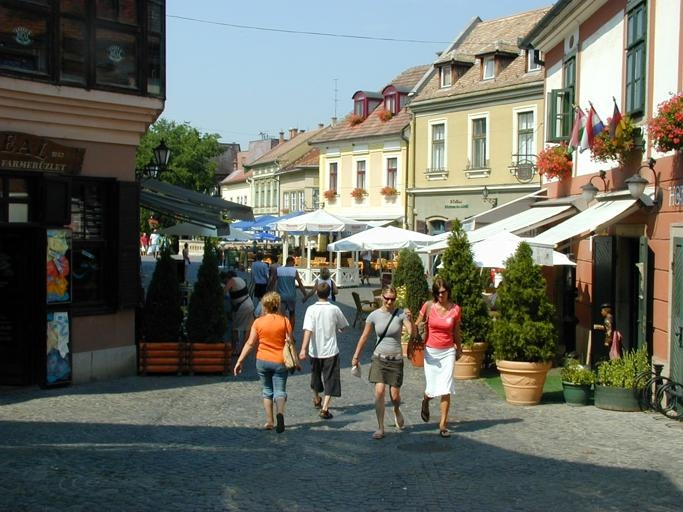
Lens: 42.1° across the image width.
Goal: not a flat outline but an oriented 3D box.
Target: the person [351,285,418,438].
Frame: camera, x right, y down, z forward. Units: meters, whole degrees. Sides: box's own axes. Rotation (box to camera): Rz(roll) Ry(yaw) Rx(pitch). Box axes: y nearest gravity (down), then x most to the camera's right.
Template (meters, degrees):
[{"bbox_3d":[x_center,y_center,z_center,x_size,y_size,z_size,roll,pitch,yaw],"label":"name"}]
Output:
[{"bbox_3d":[0.659,1.523,13.483,0.844,2.187,1.524,2,5,5],"label":"person"}]

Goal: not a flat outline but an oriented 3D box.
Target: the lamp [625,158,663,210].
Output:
[{"bbox_3d":[5.132,-1.269,15.235,0.511,0.847,0.822,2,5,6],"label":"lamp"}]

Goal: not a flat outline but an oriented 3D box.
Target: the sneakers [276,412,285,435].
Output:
[{"bbox_3d":[-0.900,2.452,13.024,0.108,0.267,0.172,1,5,-6],"label":"sneakers"}]

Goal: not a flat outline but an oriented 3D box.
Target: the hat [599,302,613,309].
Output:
[{"bbox_3d":[4.725,0.896,15.892,0.139,0.104,0.147,0,-4,4],"label":"hat"}]

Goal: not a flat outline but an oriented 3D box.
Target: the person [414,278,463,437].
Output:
[{"bbox_3d":[1.433,1.489,13.266,0.630,2.276,0.602,3,5,18],"label":"person"}]

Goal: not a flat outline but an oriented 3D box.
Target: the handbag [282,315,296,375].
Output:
[{"bbox_3d":[-0.763,1.349,13.397,0.212,0.849,0.648,1,5,-3],"label":"handbag"}]

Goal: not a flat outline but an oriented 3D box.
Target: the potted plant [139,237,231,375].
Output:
[{"bbox_3d":[-2.933,1.028,16.633,1.625,2.325,0.661,0,5,-12],"label":"potted plant"}]

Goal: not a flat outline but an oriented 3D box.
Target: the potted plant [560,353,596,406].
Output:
[{"bbox_3d":[3.911,2.126,15.087,0.663,0.879,0.642,1,-4,-10],"label":"potted plant"}]

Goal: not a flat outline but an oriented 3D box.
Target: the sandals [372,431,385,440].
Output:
[{"bbox_3d":[0.539,2.587,12.911,0.184,0.110,0.236,2,5,2],"label":"sandals"}]

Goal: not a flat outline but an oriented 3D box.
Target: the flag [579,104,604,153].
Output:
[{"bbox_3d":[4.667,-2.499,16.643,0.585,1.100,0.157,-20,39,-7],"label":"flag"}]

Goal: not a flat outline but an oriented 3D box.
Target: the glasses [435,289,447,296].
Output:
[{"bbox_3d":[1.496,0.546,13.231,0.146,0.113,0.066,1,5,-6],"label":"glasses"}]

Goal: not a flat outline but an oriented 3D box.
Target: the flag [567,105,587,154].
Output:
[{"bbox_3d":[4.681,-2.528,17.729,0.289,0.217,1.267,-9,-41,4],"label":"flag"}]

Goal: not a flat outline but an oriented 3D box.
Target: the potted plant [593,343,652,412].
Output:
[{"bbox_3d":[4.580,2.031,14.514,0.872,1.034,0.944,1,-4,-2],"label":"potted plant"}]

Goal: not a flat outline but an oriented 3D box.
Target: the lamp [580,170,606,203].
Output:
[{"bbox_3d":[5.002,-1.408,17.728,0.476,0.686,0.406,1,-16,33],"label":"lamp"}]

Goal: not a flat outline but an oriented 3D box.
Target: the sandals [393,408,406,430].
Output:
[{"bbox_3d":[0.864,2.470,13.414,0.125,0.416,0.098,-1,18,37],"label":"sandals"}]

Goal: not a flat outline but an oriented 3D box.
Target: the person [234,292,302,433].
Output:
[{"bbox_3d":[-1.042,1.563,13.281,0.782,2.009,0.492,4,6,35],"label":"person"}]

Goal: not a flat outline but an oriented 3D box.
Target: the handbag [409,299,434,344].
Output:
[{"bbox_3d":[1.331,1.028,13.594,0.574,0.601,0.433,1,0,15],"label":"handbag"}]

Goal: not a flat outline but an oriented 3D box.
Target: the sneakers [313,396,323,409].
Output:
[{"bbox_3d":[-0.392,2.399,14.523,0.170,0.196,0.477,1,3,-1],"label":"sneakers"}]

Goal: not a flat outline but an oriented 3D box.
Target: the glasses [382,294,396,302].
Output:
[{"bbox_3d":[0.718,0.630,13.190,0.191,0.122,0.138,-1,5,-21],"label":"glasses"}]

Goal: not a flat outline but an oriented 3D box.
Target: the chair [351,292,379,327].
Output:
[{"bbox_3d":[0.662,1.416,23.491,0.682,0.887,0.714,-6,5,-40],"label":"chair"}]

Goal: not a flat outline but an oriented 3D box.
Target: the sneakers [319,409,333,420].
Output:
[{"bbox_3d":[-0.232,2.459,13.950,0.202,0.135,0.364,1,5,-2],"label":"sneakers"}]

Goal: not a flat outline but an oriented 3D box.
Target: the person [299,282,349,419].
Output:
[{"bbox_3d":[-0.282,1.461,14.268,0.709,2.089,1.107,1,5,-1],"label":"person"}]

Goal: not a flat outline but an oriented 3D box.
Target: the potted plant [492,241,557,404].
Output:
[{"bbox_3d":[3.092,1.090,15.340,1.114,2.692,1.083,-1,-2,-36],"label":"potted plant"}]

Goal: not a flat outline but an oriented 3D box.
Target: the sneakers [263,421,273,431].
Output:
[{"bbox_3d":[-1.090,2.543,13.236,0.119,0.068,0.162,1,-2,3],"label":"sneakers"}]

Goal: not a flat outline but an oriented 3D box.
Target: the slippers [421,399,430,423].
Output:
[{"bbox_3d":[1.281,2.374,13.607,0.136,0.388,0.094,-2,3,-20],"label":"slippers"}]

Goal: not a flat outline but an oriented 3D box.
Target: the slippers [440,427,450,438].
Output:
[{"bbox_3d":[1.531,2.593,13.133,0.168,0.117,0.282,2,5,8],"label":"slippers"}]
